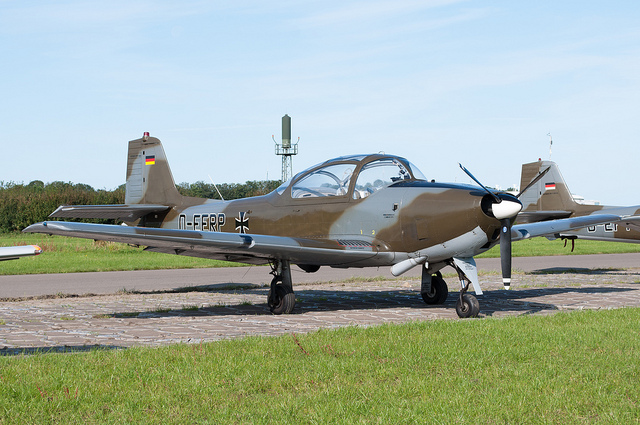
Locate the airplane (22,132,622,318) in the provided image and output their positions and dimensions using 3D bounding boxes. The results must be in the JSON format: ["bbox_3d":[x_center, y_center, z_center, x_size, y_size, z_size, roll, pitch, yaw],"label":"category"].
[{"bbox_3d":[-2.753,0.261,13.867,11.477,3.084,6.791,7,11,39],"label":"airplane"}]
